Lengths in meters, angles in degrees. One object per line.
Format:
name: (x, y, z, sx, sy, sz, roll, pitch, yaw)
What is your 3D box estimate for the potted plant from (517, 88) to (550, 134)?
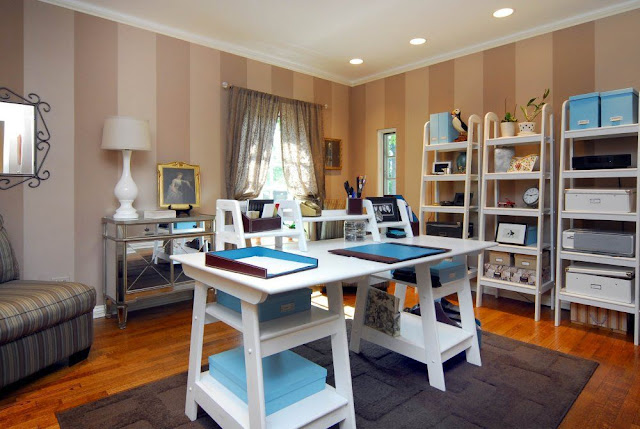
potted plant: (2.450, -1.167, 4.907, 0.300, 0.525, 0.462, 22, 15, 32)

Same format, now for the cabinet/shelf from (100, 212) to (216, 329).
cabinet/shelf: (-1.840, 0.533, 4.876, 1.121, 1.039, 0.672, -3, 5, -45)

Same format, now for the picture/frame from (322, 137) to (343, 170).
picture/frame: (0.157, -0.907, 6.406, 0.043, 0.470, 0.549, 2, 5, 32)

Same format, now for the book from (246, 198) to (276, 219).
book: (-0.499, -0.051, 3.517, 0.236, 0.142, 0.202, 2, 13, -10)

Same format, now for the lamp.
lamp: (-2.089, -0.509, 4.515, 0.456, 1.024, 0.510, 6, 13, 5)
